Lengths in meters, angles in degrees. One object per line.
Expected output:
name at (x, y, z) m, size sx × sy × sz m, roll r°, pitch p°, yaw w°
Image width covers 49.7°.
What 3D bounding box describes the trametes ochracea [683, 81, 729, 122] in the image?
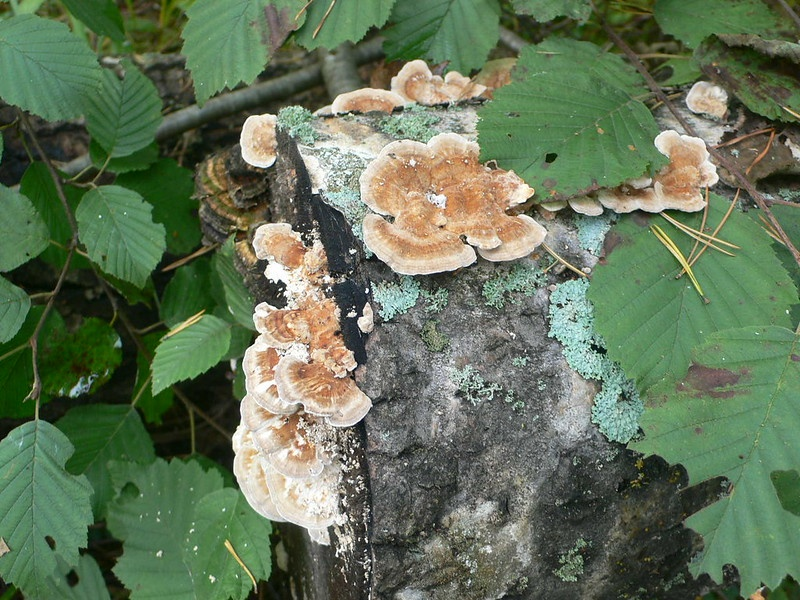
trametes ochracea at (2.020, -1.314, 5.715) m, size 0.226 × 0.076 × 0.288 m, roll -38°, pitch 63°, yaw -8°
